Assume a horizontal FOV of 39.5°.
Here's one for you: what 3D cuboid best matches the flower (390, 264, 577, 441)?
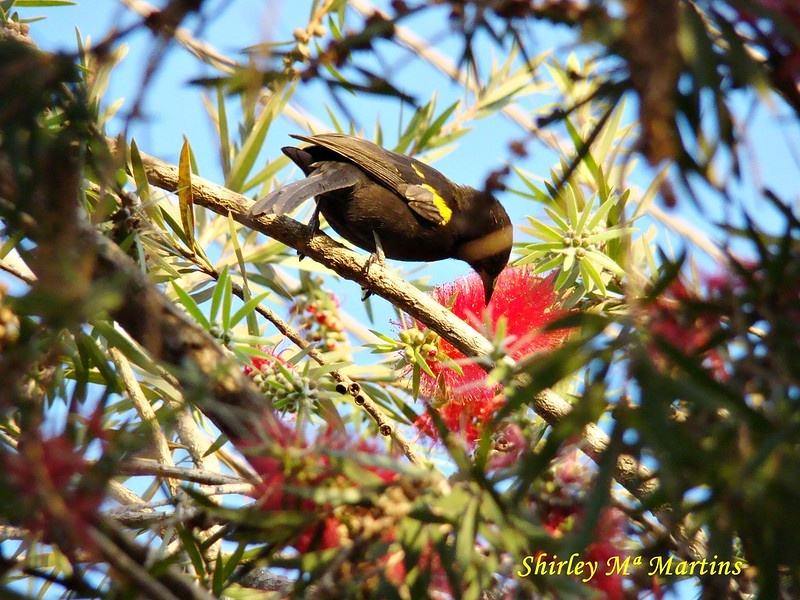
[{"bbox_3d":[0.258,0.178,3.214,0.585,0.528,0.560,-1,-71,13],"label":"flower"}]
